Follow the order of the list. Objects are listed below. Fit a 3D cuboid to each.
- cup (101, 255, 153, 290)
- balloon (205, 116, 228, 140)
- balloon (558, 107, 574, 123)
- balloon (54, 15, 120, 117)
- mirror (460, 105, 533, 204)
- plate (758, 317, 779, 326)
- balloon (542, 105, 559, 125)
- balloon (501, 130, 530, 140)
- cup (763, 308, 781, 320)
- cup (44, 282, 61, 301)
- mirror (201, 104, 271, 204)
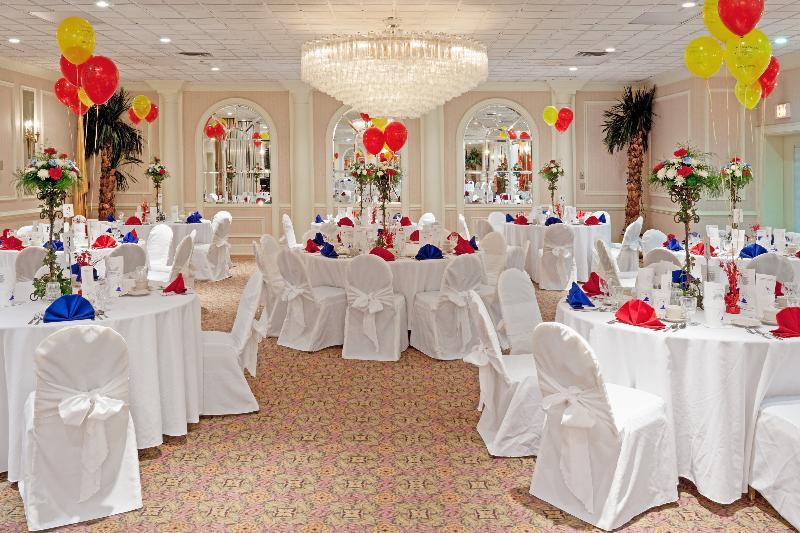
[{"bbox_3d":[-2.372,0.081,4.735,0.345,0.383,0.248,0,11,-10],"label":"cup"},{"bbox_3d":[-4.407,-3.288,13.115,0.359,0.532,0.227,-2,10,1],"label":"balloon"},{"bbox_3d":[3.519,-3.191,11.535,0.195,0.249,0.403,10,16,39],"label":"balloon"},{"bbox_3d":[-3.684,-2.568,6.781,1.160,0.494,0.509,47,20,16],"label":"balloon"},{"bbox_3d":[2.318,-2.801,13.310,2.050,3.182,0.154,-1,4,-9],"label":"mirror"},{"bbox_3d":[2.675,0.401,3.953,0.095,0.047,0.139,9,16,34],"label":"plate"},{"bbox_3d":[3.231,-3.194,11.635,0.281,0.366,0.365,1,13,6],"label":"balloon"},{"bbox_3d":[2.795,-3.178,13.351,0.382,0.163,0.371,2,0,23],"label":"balloon"},{"bbox_3d":[2.722,0.358,3.997,0.099,0.074,0.105,-4,2,0],"label":"cup"},{"bbox_3d":[-2.766,0.208,4.380,0.120,0.135,0.128,2,1,0],"label":"cup"},{"bbox_3d":[-3.915,-2.814,13.192,2.048,3.324,0.107,0,3,-4],"label":"mirror"}]
